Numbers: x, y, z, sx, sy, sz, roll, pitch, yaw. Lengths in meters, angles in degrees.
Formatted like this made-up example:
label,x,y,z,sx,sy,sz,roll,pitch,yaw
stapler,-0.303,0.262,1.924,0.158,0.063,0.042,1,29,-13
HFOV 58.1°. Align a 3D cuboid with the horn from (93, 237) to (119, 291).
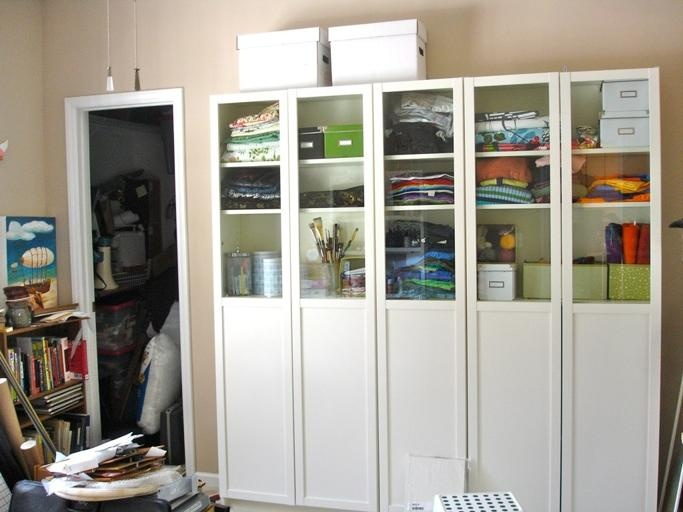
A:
label,x,y,z,sx,sy,sz,roll,pitch,yaw
horn,-1.722,0.065,4.471,0.054,0.382,0.152,2,6,35
